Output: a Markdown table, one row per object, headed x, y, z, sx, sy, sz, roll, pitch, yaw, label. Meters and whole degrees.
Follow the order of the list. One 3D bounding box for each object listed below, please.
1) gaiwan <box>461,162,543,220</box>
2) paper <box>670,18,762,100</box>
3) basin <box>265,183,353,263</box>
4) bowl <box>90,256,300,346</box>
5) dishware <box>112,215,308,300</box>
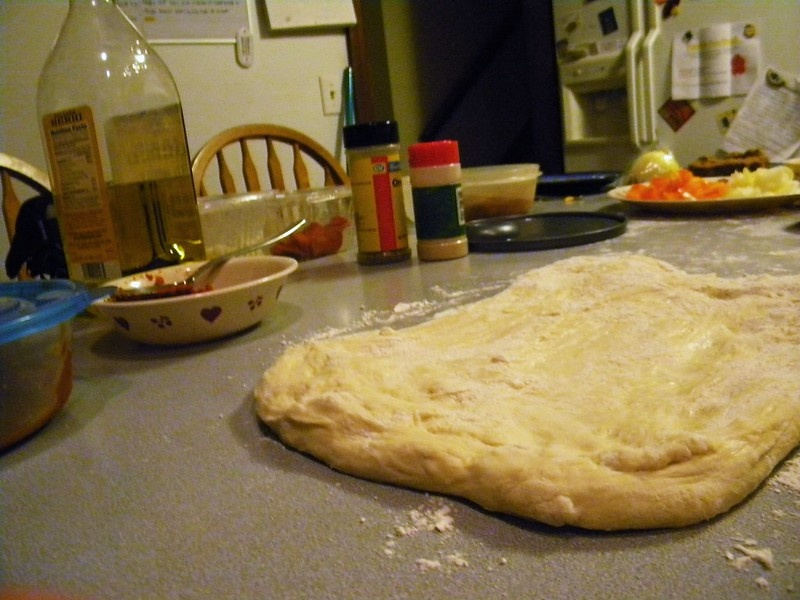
| x | y | z | sx | sy | sz | roll | pitch | yaw | label |
| --- | --- | --- | --- | --- | --- | --- | --- | --- | --- |
| 0.241 | -0.251 | 1.480 | 0.162 | 0.070 | 0.147 | -2 | 13 | 16 | gaiwan |
| 1.099 | -0.840 | 2.097 | 0.315 | 0.302 | 0.084 | 2 | -7 | 26 | paper |
| -0.190 | -0.162 | 1.346 | 0.142 | 0.188 | 0.063 | 0 | 19 | -44 | basin |
| -0.265 | 0.005 | 0.843 | 0.203 | 0.063 | 0.195 | -9 | 16 | 2 | bowl |
| -0.310 | -0.081 | 0.914 | 0.185 | 0.029 | 0.114 | -23 | 21 | -23 | dishware |
